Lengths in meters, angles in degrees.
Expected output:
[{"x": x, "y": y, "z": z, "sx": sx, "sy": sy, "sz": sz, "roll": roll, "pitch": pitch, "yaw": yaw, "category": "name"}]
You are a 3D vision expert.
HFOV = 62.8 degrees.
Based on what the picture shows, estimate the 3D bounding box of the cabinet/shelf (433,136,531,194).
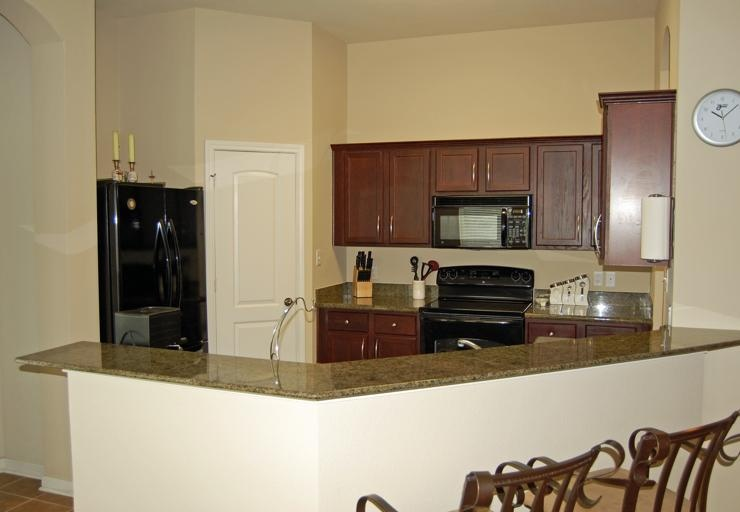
[{"x": 1.034, "y": -0.812, "z": 5.606, "sx": 0.886, "sy": 0.445, "sz": 0.324, "roll": 0, "pitch": 15, "yaw": 8, "category": "cabinet/shelf"}]

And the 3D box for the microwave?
[{"x": 1.004, "y": -0.296, "z": 5.599, "sx": 0.852, "sy": 0.467, "sz": 0.336, "roll": 0, "pitch": -5, "yaw": 10, "category": "microwave"}]

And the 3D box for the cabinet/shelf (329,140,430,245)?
[{"x": 0.111, "y": -0.612, "z": 5.700, "sx": 0.971, "sy": 0.959, "sz": 0.388, "roll": 0, "pitch": 0, "yaw": 11, "category": "cabinet/shelf"}]

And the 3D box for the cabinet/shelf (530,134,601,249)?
[{"x": 1.692, "y": -0.540, "z": 5.256, "sx": 0.545, "sy": 0.934, "sz": 0.160, "roll": 5, "pitch": 11, "yaw": 14, "category": "cabinet/shelf"}]

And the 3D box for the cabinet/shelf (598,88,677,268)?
[{"x": 1.726, "y": -0.500, "z": 3.868, "sx": 0.441, "sy": 1.142, "sz": 1.167, "roll": 1, "pitch": 3, "yaw": 20, "category": "cabinet/shelf"}]

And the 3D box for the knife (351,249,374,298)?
[{"x": -0.072, "y": 0.168, "z": 5.915, "sx": 0.200, "sy": 0.416, "sz": 0.380, "roll": 2, "pitch": 11, "yaw": -1, "category": "knife"}]

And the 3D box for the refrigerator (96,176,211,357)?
[{"x": -1.642, "y": 0.094, "z": 4.586, "sx": 0.807, "sy": 1.311, "sz": 0.394, "roll": -3, "pitch": 12, "yaw": -28, "category": "refrigerator"}]

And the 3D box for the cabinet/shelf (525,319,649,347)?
[{"x": 1.771, "y": 0.625, "z": 4.972, "sx": 0.954, "sy": 0.290, "sz": 0.134, "roll": 5, "pitch": 11, "yaw": 9, "category": "cabinet/shelf"}]

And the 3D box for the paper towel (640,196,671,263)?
[{"x": 1.754, "y": -0.165, "z": 3.709, "sx": 0.194, "sy": 0.406, "sz": 0.100, "roll": 8, "pitch": 12, "yaw": 25, "category": "paper towel"}]
